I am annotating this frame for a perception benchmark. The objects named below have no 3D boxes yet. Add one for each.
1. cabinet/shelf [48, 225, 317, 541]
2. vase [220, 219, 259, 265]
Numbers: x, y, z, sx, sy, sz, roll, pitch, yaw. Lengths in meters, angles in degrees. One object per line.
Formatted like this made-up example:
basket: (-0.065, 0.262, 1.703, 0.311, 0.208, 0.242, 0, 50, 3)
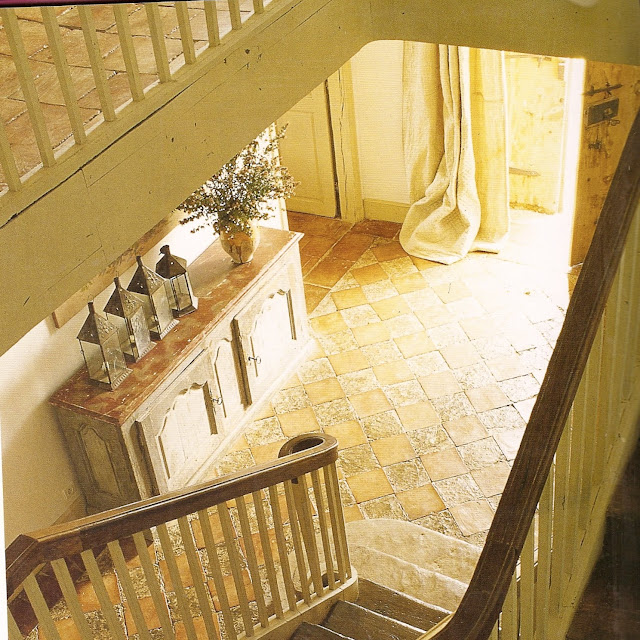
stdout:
cabinet/shelf: (-0.767, 0.344, 3.320, 0.466, 0.882, 1.788, 12, 44, 17)
vase: (-0.517, -0.529, 4.145, 0.209, 0.324, 0.206, -1, 7, 37)
